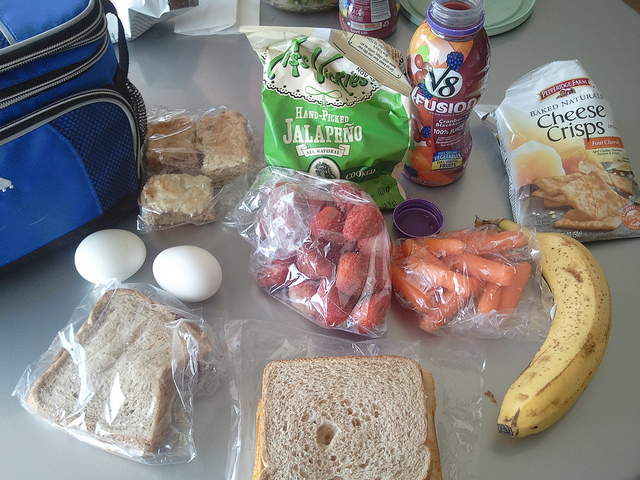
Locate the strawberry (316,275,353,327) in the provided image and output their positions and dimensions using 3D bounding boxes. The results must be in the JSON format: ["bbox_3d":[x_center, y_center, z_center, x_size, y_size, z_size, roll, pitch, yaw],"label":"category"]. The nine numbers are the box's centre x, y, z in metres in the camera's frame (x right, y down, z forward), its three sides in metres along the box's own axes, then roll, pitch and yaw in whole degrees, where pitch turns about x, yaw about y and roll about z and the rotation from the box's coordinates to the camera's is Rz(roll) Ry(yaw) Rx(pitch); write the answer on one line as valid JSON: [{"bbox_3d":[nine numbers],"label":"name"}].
[{"bbox_3d":[0.022,0.112,1.005,0.044,0.092,0.076,-4,20,-41],"label":"strawberry"}]

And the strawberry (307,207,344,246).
[{"bbox_3d":[0.013,-0.029,1.041,0.087,0.098,0.064,-13,91,1],"label":"strawberry"}]

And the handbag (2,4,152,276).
[{"bbox_3d":[-0.410,-0.281,1.105,0.290,0.437,0.489,-10,57,-16],"label":"handbag"}]

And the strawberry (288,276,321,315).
[{"bbox_3d":[-0.019,0.096,1.066,0.038,0.062,0.068,-27,91,-52],"label":"strawberry"}]

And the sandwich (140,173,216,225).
[{"bbox_3d":[-0.299,-0.084,1.140,0.148,0.082,0.088,-13,58,-2],"label":"sandwich"}]

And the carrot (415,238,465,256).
[{"bbox_3d":[0.236,0.012,1.059,0.091,0.037,0.037,10,31,23],"label":"carrot"}]

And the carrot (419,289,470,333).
[{"bbox_3d":[0.235,0.130,1.020,0.046,0.033,0.117,33,94,10],"label":"carrot"}]

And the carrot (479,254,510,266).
[{"bbox_3d":[0.335,0.039,1.036,0.036,0.010,0.012,14,87,7],"label":"carrot"}]

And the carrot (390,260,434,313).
[{"bbox_3d":[0.172,0.086,1.081,0.040,0.041,0.131,-42,63,2],"label":"carrot"}]

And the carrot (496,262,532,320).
[{"bbox_3d":[0.367,0.100,1.023,0.047,0.097,0.073,7,28,3],"label":"carrot"}]

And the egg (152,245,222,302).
[{"bbox_3d":[-0.265,0.067,1.083,0.133,0.126,0.111,-2,18,-18],"label":"egg"}]

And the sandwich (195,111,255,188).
[{"bbox_3d":[-0.208,-0.204,1.204,0.126,0.068,0.162,-17,60,-4],"label":"sandwich"}]

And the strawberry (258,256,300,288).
[{"bbox_3d":[-0.077,0.062,1.037,0.066,0.029,0.056,-11,98,17],"label":"strawberry"}]

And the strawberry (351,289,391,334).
[{"bbox_3d":[0.096,0.134,1.004,0.051,0.034,0.092,21,96,-14],"label":"strawberry"}]

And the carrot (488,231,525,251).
[{"bbox_3d":[0.364,0.003,1.050,0.059,0.028,0.034,-5,80,2],"label":"carrot"}]

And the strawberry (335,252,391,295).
[{"bbox_3d":[0.078,0.065,1.003,0.100,0.059,0.063,-5,58,3],"label":"strawberry"}]

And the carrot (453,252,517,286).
[{"bbox_3d":[0.313,0.048,1.041,0.119,0.047,0.048,24,22,21],"label":"carrot"}]

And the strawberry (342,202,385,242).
[{"bbox_3d":[0.081,-0.030,1.019,0.085,0.044,0.067,-17,59,-4],"label":"strawberry"}]

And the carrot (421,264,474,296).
[{"bbox_3d":[0.240,0.074,1.022,0.100,0.017,0.033,18,63,15],"label":"carrot"}]

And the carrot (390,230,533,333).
[{"bbox_3d":[0.273,0.065,1.043,0.221,0.077,0.204,4,73,9],"label":"carrot"}]

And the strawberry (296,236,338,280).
[{"bbox_3d":[0.009,0.025,1.034,0.058,0.068,0.100,-19,35,-33],"label":"strawberry"}]
